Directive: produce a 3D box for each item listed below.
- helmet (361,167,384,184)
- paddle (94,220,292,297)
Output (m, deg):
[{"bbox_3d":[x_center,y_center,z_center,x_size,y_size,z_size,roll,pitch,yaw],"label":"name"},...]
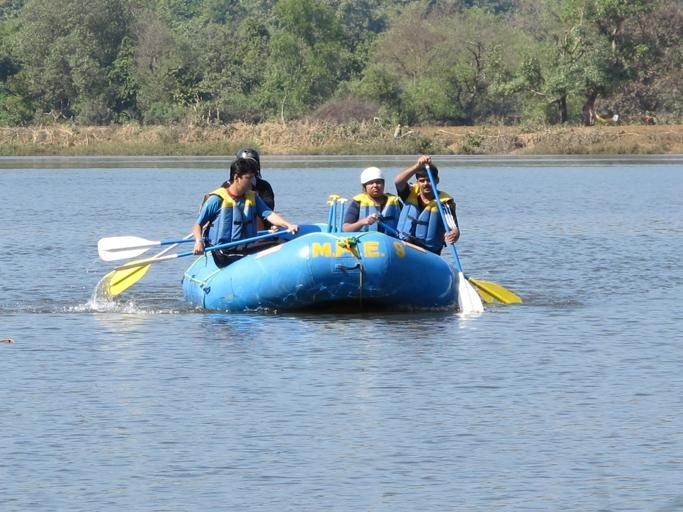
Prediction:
[{"bbox_3d":[0.384,-1.159,19.070,0.265,0.152,0.326,-10,-9,-3],"label":"helmet"},{"bbox_3d":[-2.595,-0.041,20.343,3.499,0.954,0.131,-8,-32,3],"label":"paddle"}]
